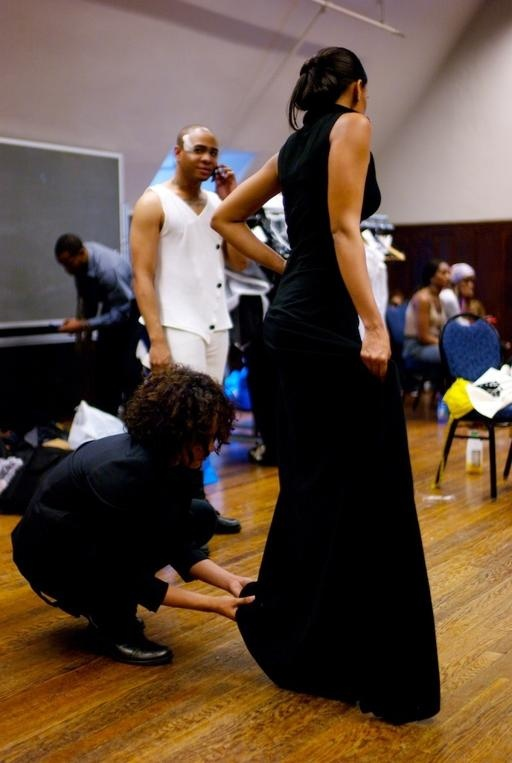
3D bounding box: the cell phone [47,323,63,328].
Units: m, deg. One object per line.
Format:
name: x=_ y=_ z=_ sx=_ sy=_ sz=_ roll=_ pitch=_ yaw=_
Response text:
cell phone: x=-1.142 y=-0.319 z=3.498 sx=0.061 sy=0.034 sz=0.024 roll=0 pitch=-20 yaw=-13
